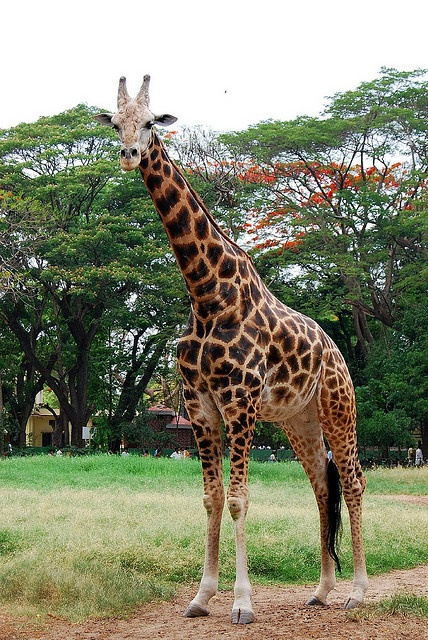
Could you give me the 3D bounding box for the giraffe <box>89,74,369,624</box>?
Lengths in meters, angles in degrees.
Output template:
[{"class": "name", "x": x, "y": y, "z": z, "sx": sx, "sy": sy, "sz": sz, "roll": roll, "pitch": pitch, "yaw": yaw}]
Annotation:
[{"class": "giraffe", "x": 0.309, "y": 0.319, "z": 7.339, "sx": 0.919, "sy": 4.569, "sz": 2.833, "roll": -7, "pitch": -8, "yaw": 43}]
